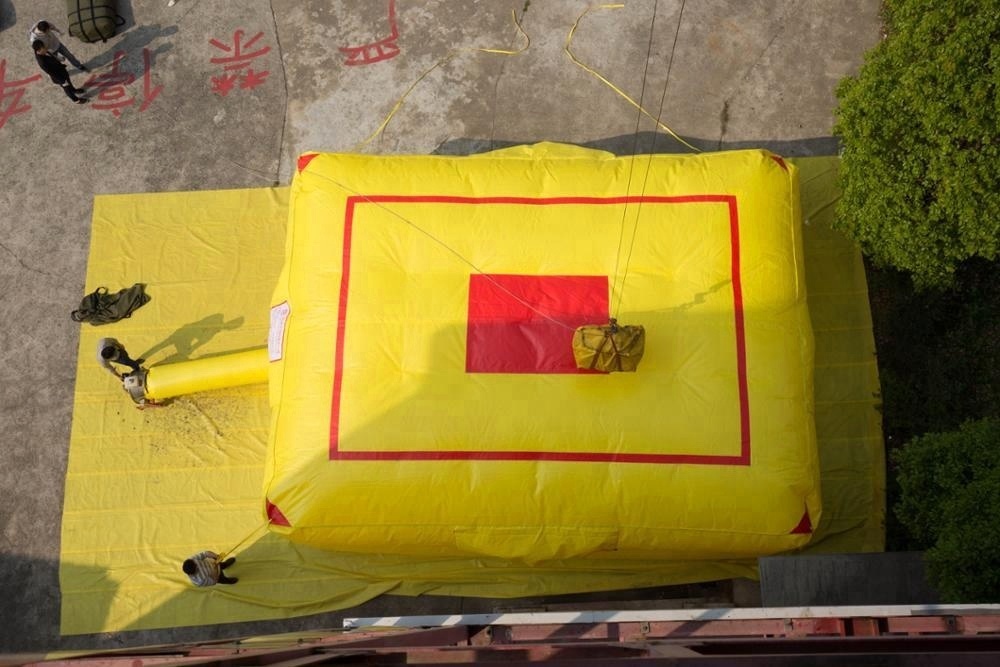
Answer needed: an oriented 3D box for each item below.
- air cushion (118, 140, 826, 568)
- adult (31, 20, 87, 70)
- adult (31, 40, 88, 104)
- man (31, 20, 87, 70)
[{"bbox_3d":[0.565,0.277,19.512,6.954,0.817,5.249,0,83,3],"label":"air cushion"},{"bbox_3d":[-6.400,-4.110,21.311,0.394,0.313,0.856,-43,81,-15],"label":"adult"},{"bbox_3d":[-6.532,-3.812,21.610,0.272,0.989,0.407,-39,86,-5],"label":"adult"},{"bbox_3d":[-6.401,-4.111,21.276,0.388,0.313,0.856,-43,81,-17],"label":"man"}]
